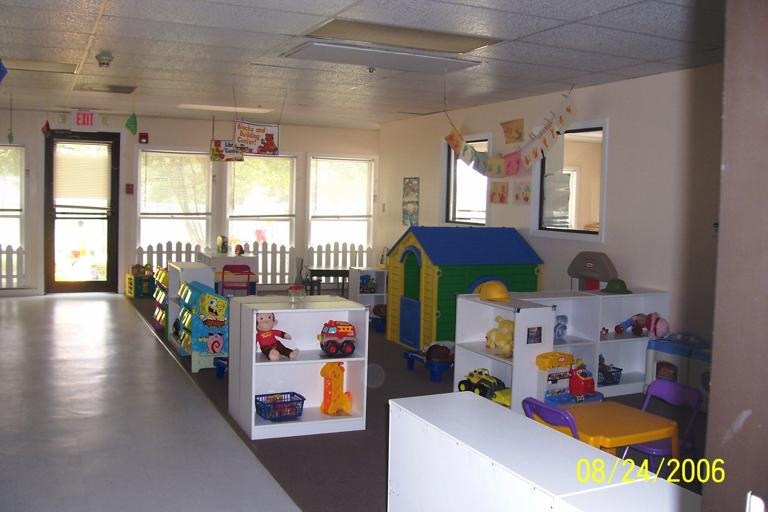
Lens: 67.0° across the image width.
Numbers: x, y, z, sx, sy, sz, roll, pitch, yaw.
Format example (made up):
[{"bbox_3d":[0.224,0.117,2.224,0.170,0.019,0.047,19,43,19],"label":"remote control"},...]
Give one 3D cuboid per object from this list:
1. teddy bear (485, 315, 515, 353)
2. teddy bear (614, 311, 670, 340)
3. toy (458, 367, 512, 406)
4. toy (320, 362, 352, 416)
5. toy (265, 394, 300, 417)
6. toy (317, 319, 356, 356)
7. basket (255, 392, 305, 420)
[{"bbox_3d":[1.107,0.744,5.577,0.250,0.294,0.438,3,7,8],"label":"teddy bear"},{"bbox_3d":[2.930,0.778,6.612,0.480,0.213,0.309,-2,7,13],"label":"teddy bear"},{"bbox_3d":[1.018,1.248,5.580,0.321,0.267,0.555,1,13,-37],"label":"toy"},{"bbox_3d":[-0.450,1.222,5.498,0.301,0.475,0.284,1,7,-7],"label":"toy"},{"bbox_3d":[-0.903,1.346,5.272,0.250,0.092,0.176,2,2,-21],"label":"toy"},{"bbox_3d":[-0.430,0.762,5.430,0.334,0.298,0.218,1,7,-8],"label":"toy"},{"bbox_3d":[-0.950,1.352,5.274,0.326,0.138,0.242,-1,6,-21],"label":"basket"}]
